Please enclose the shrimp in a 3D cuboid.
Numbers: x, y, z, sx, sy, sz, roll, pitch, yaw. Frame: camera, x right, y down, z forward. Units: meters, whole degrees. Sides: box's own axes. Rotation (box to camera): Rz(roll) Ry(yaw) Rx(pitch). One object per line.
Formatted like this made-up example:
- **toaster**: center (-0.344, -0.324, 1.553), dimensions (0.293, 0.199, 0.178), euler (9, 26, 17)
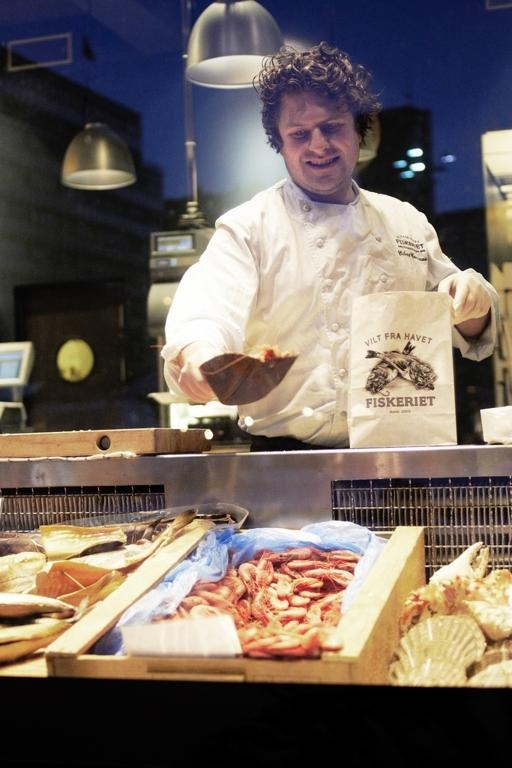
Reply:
- **shrimp**: center (0.011, 0.193, 0.634), dimensions (0.153, 0.034, 0.228), euler (-7, 11, 13)
